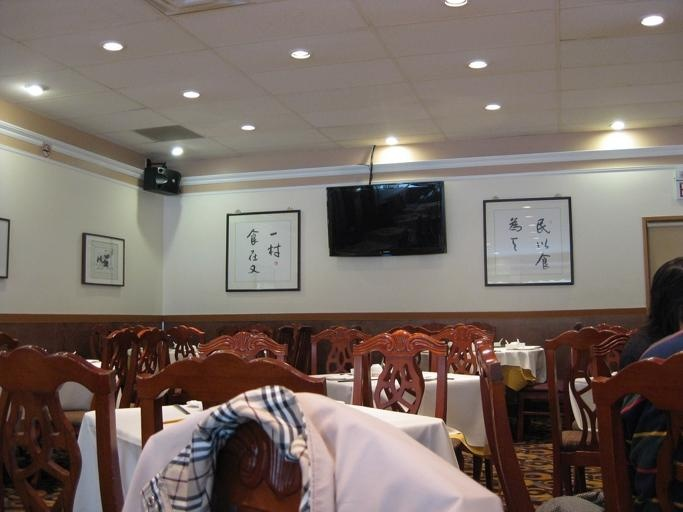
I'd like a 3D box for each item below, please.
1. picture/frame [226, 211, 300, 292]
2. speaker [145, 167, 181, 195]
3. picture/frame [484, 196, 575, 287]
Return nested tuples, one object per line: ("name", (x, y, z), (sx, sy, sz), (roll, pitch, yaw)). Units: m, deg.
("picture/frame", (-1.081, -0.062, 7.348), (1.058, 1.116, 0.046), (-2, 8, -24))
("speaker", (-2.488, -1.067, 7.369), (0.495, 0.350, 0.307), (3, -6, -30))
("picture/frame", (2.333, -0.176, 6.601), (1.053, 1.125, 0.043), (-2, -1, 27))
